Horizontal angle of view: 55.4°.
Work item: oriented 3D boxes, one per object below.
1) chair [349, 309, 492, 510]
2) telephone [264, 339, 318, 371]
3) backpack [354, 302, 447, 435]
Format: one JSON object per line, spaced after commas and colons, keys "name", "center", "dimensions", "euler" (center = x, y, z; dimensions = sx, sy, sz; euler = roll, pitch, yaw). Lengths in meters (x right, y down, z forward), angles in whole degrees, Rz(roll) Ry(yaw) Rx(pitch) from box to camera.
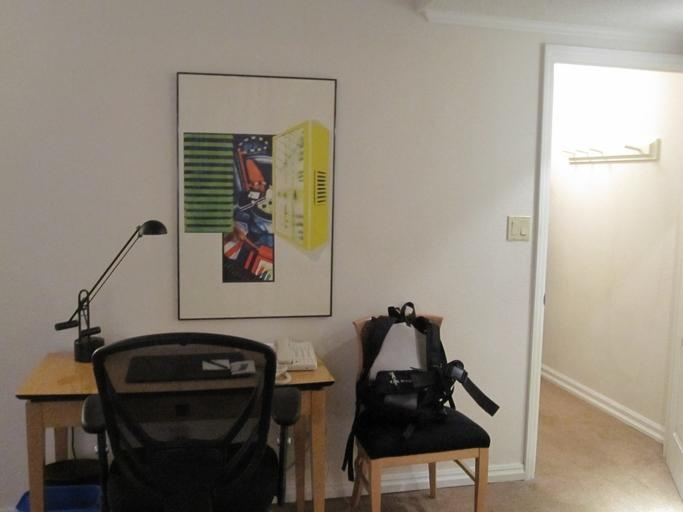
{"name": "chair", "center": [0.408, 0.869, 3.563], "dimensions": [0.800, 1.180, 0.594], "euler": [0, 8, -1]}
{"name": "telephone", "center": [-0.265, 0.518, 3.351], "dimensions": [0.164, 0.094, 0.241], "euler": [0, 3, -5]}
{"name": "backpack", "center": [0.340, 0.672, 3.689], "dimensions": [0.507, 0.408, 0.721], "euler": [9, 42, -4]}
